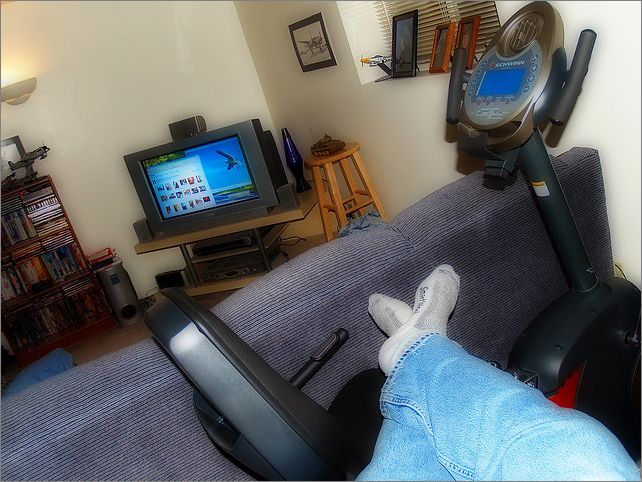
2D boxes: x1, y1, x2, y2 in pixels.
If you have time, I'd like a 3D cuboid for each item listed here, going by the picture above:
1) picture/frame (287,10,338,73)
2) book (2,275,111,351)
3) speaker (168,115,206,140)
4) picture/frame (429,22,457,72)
[{"bbox_3d":[-0.061,-1.394,3.066,0.078,0.356,0.418,-26,28,-25],"label":"picture/frame"},{"bbox_3d":[-2.245,0.597,3.626,0.734,0.273,0.684,-28,-8,1],"label":"book"},{"bbox_3d":[-1.057,-0.862,3.454,0.298,0.182,0.205,-16,2,-5],"label":"speaker"},{"bbox_3d":[0.638,-0.986,2.220,0.125,0.232,0.204,-22,27,-18],"label":"picture/frame"}]
